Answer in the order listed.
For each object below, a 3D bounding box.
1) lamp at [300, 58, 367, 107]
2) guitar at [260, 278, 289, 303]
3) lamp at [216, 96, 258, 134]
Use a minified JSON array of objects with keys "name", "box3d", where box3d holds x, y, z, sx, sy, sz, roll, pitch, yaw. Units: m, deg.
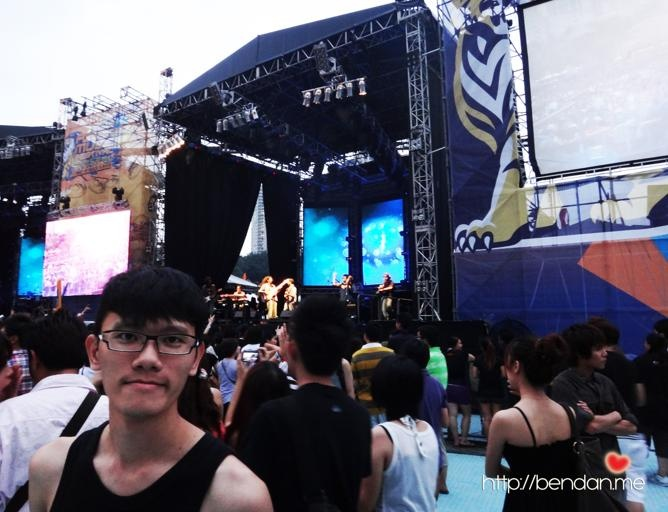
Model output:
[{"name":"lamp","box3d":[0.055,-4.310,12.560,1.672,1.044,0.583,-5,-14,23]},{"name":"guitar","box3d":[-2.006,1.042,15.946,0.547,0.252,1.101,-2,30,3]},{"name":"lamp","box3d":[-2.762,-4.113,14.490,2.019,0.758,0.401,5,2,36]}]
